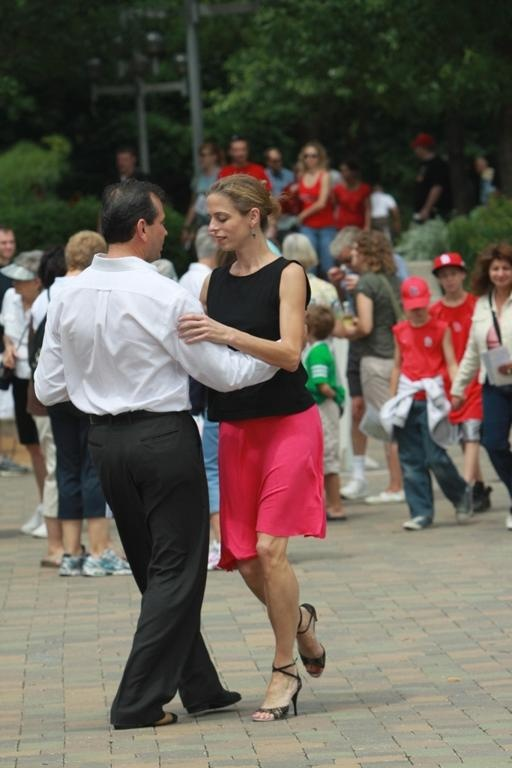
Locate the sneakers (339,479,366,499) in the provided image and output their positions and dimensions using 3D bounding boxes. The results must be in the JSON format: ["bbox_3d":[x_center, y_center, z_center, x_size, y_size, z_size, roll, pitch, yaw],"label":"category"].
[{"bbox_3d":[0.758,0.766,9.589,0.163,0.143,0.238,-3,3,21],"label":"sneakers"}]

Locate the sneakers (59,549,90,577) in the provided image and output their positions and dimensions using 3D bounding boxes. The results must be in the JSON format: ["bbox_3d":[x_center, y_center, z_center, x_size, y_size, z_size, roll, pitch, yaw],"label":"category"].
[{"bbox_3d":[-1.057,0.997,7.146,0.083,0.091,0.210,0,5,19],"label":"sneakers"}]

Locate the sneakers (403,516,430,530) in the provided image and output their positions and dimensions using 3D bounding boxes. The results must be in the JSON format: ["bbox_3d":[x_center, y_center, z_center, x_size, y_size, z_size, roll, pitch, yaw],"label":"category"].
[{"bbox_3d":[1.039,0.847,7.886,0.194,0.086,0.174,-3,3,0],"label":"sneakers"}]

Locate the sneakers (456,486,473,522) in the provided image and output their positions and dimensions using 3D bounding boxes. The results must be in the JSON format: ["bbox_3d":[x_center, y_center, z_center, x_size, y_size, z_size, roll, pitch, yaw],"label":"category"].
[{"bbox_3d":[1.328,0.734,7.909,0.108,0.232,0.085,13,-4,-42],"label":"sneakers"}]

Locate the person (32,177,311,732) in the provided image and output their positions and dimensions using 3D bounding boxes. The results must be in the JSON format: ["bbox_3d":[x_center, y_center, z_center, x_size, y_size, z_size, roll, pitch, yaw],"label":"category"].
[{"bbox_3d":[-0.314,0.230,4.141,0.699,1.823,0.414,-4,3,-6],"label":"person"}]

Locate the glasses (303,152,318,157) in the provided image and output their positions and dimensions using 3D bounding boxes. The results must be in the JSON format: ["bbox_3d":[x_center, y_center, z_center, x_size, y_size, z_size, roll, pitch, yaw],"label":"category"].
[{"bbox_3d":[0.638,-2.660,14.361,0.122,0.054,0.131,-3,3,0],"label":"glasses"}]

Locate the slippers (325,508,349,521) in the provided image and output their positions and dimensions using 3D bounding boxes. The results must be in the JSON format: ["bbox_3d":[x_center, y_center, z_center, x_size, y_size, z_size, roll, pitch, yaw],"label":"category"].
[{"bbox_3d":[0.561,0.867,8.546,0.078,0.085,0.204,1,-6,-17],"label":"slippers"}]

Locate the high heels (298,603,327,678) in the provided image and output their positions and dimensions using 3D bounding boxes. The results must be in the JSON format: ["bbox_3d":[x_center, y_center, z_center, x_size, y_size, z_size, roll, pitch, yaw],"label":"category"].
[{"bbox_3d":[0.198,0.891,4.488,0.102,0.281,0.059,-4,17,47],"label":"high heels"}]

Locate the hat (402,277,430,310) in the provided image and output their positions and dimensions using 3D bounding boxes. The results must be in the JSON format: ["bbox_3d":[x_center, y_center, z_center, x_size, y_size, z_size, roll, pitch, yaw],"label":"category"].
[{"bbox_3d":[1.016,-0.589,7.871,0.165,0.210,0.230,-4,3,5],"label":"hat"}]

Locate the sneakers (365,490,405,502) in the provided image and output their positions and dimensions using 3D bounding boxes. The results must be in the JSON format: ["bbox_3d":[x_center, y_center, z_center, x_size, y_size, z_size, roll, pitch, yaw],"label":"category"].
[{"bbox_3d":[0.960,0.788,9.162,0.286,0.103,0.099,-1,-3,-4],"label":"sneakers"}]
